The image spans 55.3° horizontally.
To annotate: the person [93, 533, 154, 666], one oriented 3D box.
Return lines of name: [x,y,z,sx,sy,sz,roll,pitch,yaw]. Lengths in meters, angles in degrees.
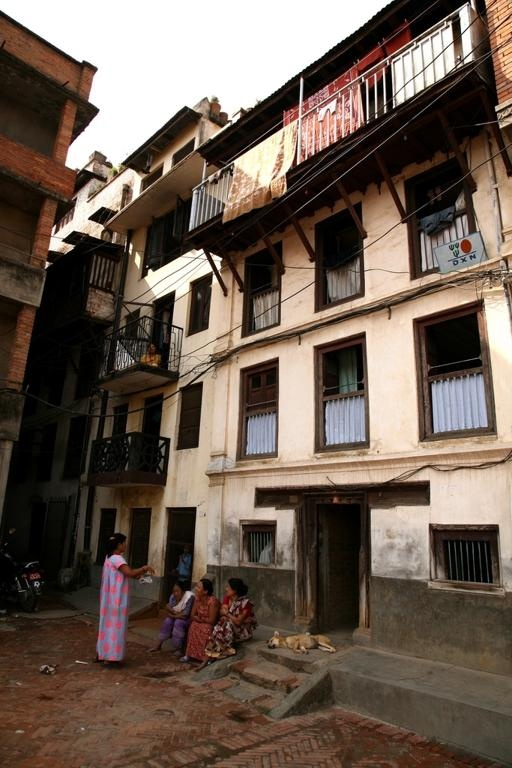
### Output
person: [-1.835,2.937,6.601,0.529,1.721,1.108,6,-16,-16]

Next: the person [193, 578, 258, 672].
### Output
person: [-0.380,3.338,6.926,0.407,1.060,0.816,-12,-20,41]

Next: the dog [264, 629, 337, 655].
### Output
dog: [0.625,3.620,6.831,0.872,0.229,0.392,-6,23,-2]
